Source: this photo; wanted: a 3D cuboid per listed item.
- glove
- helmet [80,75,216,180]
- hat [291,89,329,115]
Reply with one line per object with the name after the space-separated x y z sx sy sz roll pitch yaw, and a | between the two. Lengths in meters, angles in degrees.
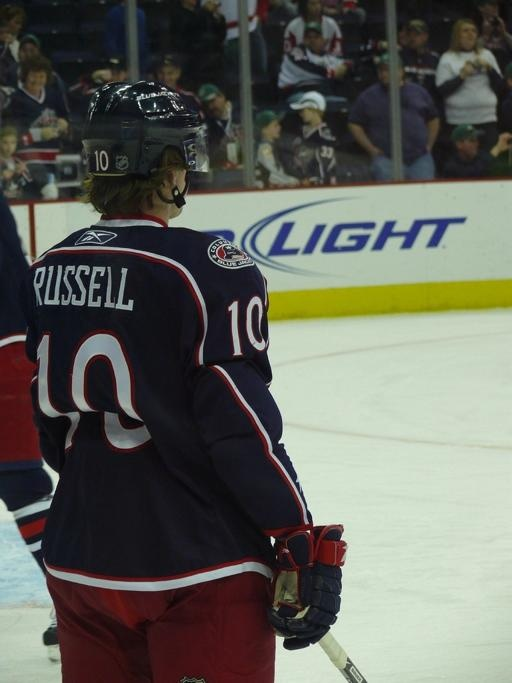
0.078 0.375 1.543 0.120 0.211 0.091 -3 12 -4 | glove
-0.165 -0.343 1.652 0.205 0.135 0.148 -2 6 -3 | helmet
0.451 -2.013 8.576 0.273 0.132 0.162 1 4 -12 | hat
